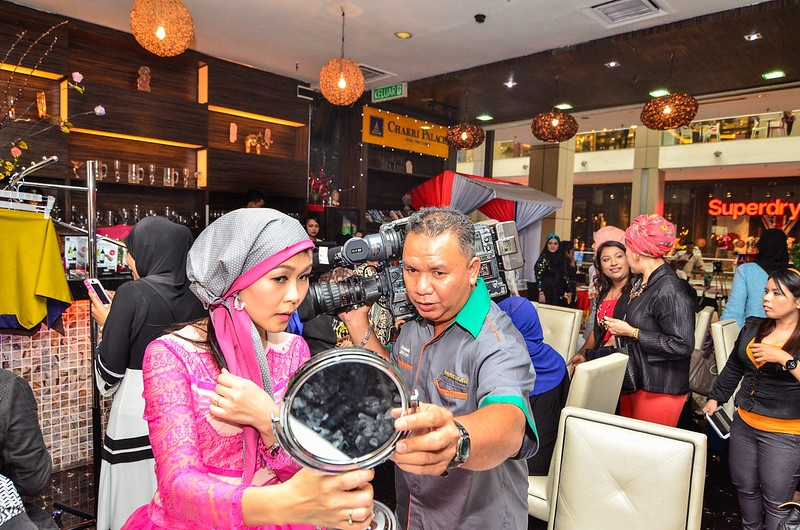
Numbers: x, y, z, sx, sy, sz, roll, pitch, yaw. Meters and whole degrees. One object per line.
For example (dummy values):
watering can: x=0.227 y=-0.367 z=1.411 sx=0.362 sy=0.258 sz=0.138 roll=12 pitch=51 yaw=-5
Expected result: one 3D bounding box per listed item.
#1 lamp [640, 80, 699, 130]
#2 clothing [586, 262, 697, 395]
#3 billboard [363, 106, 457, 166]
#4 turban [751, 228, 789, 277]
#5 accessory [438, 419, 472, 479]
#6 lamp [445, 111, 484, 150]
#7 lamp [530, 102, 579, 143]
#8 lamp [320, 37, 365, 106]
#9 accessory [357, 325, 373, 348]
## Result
lamp: x=3.405 y=-1.928 z=6.292 sx=0.626 sy=0.226 sz=0.677 roll=-1 pitch=-13 yaw=32
clothing: x=1.893 y=0.489 z=4.218 sx=0.775 sy=1.348 sz=1.403 roll=0 pitch=-5 yaw=9
billboard: x=0.129 y=-2.405 z=9.176 sx=0.211 sy=0.676 sz=2.179 roll=4 pitch=3 yaw=44
turban: x=3.447 y=-0.117 z=4.608 sx=0.286 sy=0.419 sz=0.277 roll=5 pitch=0 yaw=0
accessory: x=0.215 y=0.632 z=1.747 sx=0.067 sy=0.186 sz=0.145 roll=2 pitch=2 yaw=13
lamp: x=1.124 y=-2.219 z=8.404 sx=0.610 sy=0.609 sz=0.606 roll=0 pitch=2 yaw=-3
lamp: x=2.214 y=-2.028 z=7.099 sx=0.595 sy=0.478 sz=0.357 roll=2 pitch=2 yaw=13
lamp: x=-0.632 y=-2.223 z=5.890 sx=0.460 sy=0.677 sz=0.595 roll=2 pitch=2 yaw=8
accessory: x=-0.178 y=0.374 z=2.588 sx=0.038 sy=0.129 sz=0.097 roll=27 pitch=-11 yaw=-28
